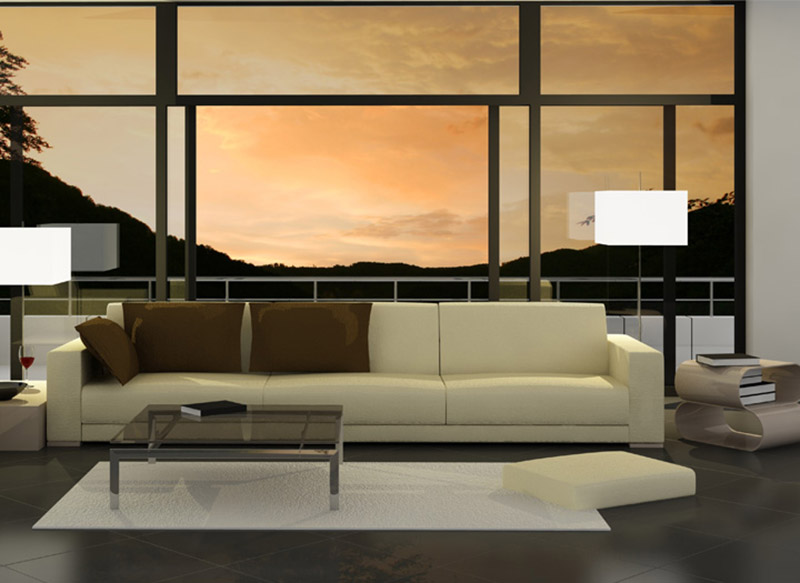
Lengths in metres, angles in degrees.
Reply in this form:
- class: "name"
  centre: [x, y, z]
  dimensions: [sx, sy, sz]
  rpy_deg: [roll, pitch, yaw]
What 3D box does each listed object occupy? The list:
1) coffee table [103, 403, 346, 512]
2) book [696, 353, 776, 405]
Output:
- class: "coffee table"
  centre: [-0.992, 0.929, 4.499]
  dimensions: [1.313, 0.416, 0.671]
  rpy_deg: [0, 14, 0]
- class: "book"
  centre: [2.389, 0.585, 5.425]
  dimensions: [0.366, 0.292, 0.469]
  rpy_deg: [-2, -3, 0]
